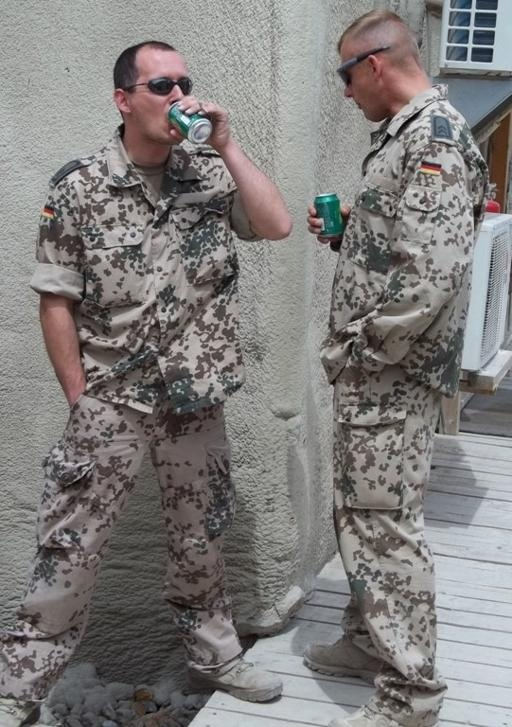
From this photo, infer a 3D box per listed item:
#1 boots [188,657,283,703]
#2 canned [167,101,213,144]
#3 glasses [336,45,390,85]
[{"bbox_3d":[-0.051,0.913,2.212,0.270,0.093,0.106,2,15,20],"label":"boots"},{"bbox_3d":[-0.144,-0.518,1.617,0.063,0.061,0.102,-40,54,-6],"label":"canned"},{"bbox_3d":[0.250,-0.718,1.825,0.044,0.075,0.141,-10,17,-37],"label":"glasses"}]
